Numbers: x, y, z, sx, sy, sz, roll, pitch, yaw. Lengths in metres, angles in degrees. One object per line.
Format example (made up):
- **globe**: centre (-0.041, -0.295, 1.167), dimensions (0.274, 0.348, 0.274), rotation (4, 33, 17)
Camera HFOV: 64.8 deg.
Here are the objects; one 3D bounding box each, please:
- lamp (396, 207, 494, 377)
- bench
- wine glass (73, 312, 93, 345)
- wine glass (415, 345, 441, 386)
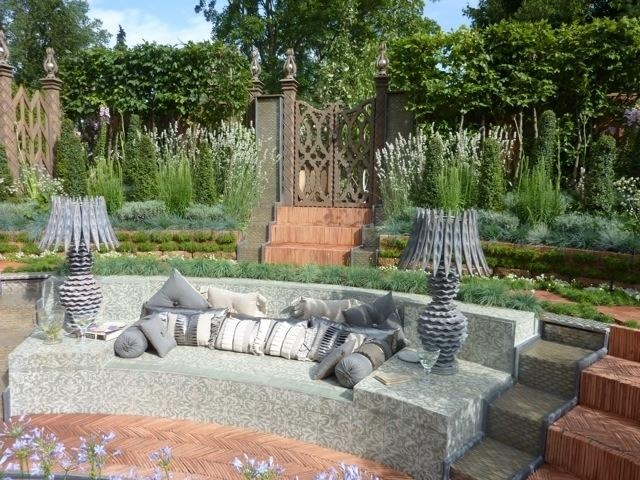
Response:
- **lamp**: centre (0.995, 0.412, 4.083), dimensions (0.683, 1.346, 0.647), rotation (4, 8, 18)
- **bench**: centre (-0.346, 1.109, 4.268), dimensions (4.029, 1.079, 1.415), rotation (4, 7, 16)
- **wine glass**: centre (-2.137, 0.802, 4.522), dimensions (0.213, 0.249, 0.211), rotation (3, -3, -28)
- **wine glass**: centre (0.875, 0.978, 4.068), dimensions (0.153, 0.247, 0.293), rotation (4, 7, 15)
